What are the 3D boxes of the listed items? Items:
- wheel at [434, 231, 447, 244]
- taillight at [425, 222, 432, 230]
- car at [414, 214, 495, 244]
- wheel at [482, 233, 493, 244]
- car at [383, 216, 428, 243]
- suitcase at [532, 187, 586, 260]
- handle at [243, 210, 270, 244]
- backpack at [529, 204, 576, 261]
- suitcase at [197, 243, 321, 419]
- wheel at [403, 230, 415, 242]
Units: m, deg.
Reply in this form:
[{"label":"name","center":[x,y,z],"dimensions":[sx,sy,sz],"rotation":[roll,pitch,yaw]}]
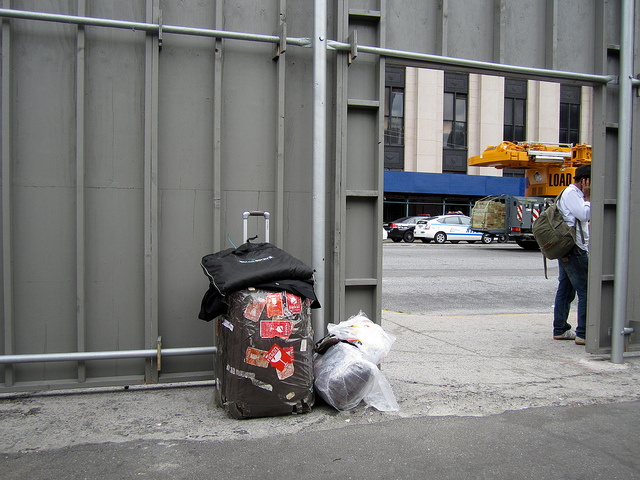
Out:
[{"label":"wheel","center":[5.182,-0.148,29.861],"dimensions":[0.453,0.535,0.162],"rotation":[0,1,-10]},{"label":"taillight","center":[4.680,-0.598,29.793],"dimensions":[0.201,0.224,0.448],"rotation":[1,9,17]},{"label":"car","center":[5.768,-0.439,30.105],"dimensions":[2.735,1.189,1.471],"rotation":[-1,3,-17]},{"label":"wheel","center":[7.171,-0.092,29.776],"dimensions":[0.320,0.362,0.119],"rotation":[5,-10,39]},{"label":"car","center":[4.295,-0.353,31.261],"dimensions":[2.729,1.144,1.222],"rotation":[-3,4,-21]},{"label":"suitcase","center":[3.020,-0.161,8.923],"dimensions":[0.541,1.033,0.673],"rotation":[-1,-17,-2]},{"label":"handle","center":[-0.643,-0.138,7.013],"dimensions":[0.290,0.446,0.057],"rotation":[1,-4,-13]},{"label":"backpack","center":[2.956,-0.065,8.802],"dimensions":[0.402,0.698,0.477],"rotation":[-9,-18,-23]},{"label":"suitcase","center":[-0.563,0.813,6.533],"dimensions":[1.039,1.543,0.962],"rotation":[-2,8,-15]},{"label":"wheel","center":[3.937,-0.185,30.760],"dimensions":[0.471,0.608,0.463],"rotation":[1,11,0]}]
